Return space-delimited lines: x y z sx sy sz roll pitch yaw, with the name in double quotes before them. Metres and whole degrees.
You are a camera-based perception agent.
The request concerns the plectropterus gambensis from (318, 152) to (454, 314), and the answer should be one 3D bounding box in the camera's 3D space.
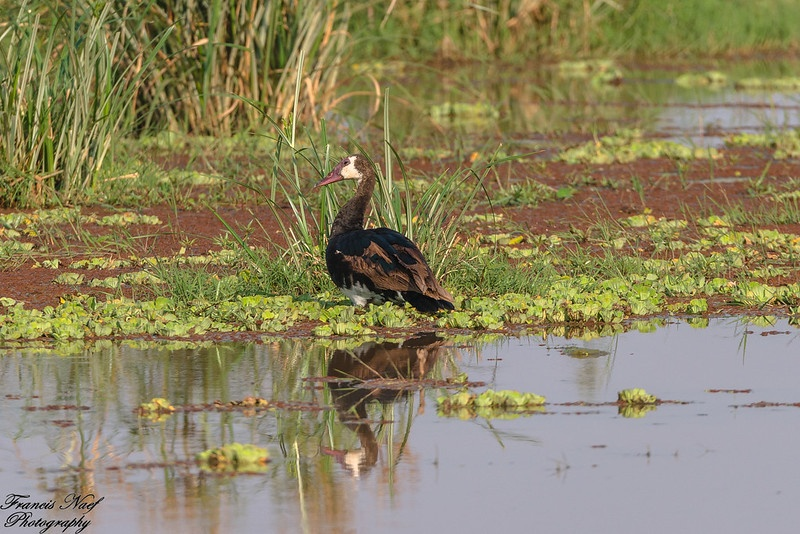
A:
"plectropterus gambensis" -0.112 -0.304 10.044 1.434 1.364 0.673 3 5 38
